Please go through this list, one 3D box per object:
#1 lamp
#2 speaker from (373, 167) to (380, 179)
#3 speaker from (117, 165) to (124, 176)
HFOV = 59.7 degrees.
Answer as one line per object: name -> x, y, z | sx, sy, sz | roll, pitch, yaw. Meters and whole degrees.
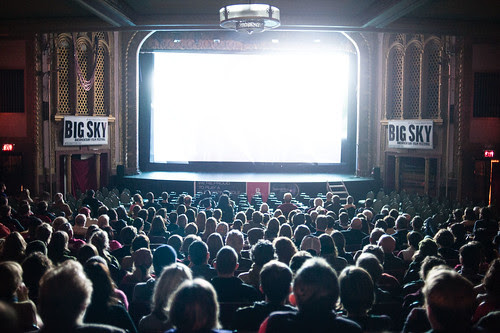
lamp -> 0.000, -3.706, 10.865 | 1.456, 0.660, 0.694 | 2, 3, 6
speaker -> 6.083, 0.310, 20.801 | 0.309, 0.531, 0.248 | 2, 2, 3
speaker -> -6.197, 0.191, 20.717 | 0.368, 0.516, 0.337 | 1, 2, -7
